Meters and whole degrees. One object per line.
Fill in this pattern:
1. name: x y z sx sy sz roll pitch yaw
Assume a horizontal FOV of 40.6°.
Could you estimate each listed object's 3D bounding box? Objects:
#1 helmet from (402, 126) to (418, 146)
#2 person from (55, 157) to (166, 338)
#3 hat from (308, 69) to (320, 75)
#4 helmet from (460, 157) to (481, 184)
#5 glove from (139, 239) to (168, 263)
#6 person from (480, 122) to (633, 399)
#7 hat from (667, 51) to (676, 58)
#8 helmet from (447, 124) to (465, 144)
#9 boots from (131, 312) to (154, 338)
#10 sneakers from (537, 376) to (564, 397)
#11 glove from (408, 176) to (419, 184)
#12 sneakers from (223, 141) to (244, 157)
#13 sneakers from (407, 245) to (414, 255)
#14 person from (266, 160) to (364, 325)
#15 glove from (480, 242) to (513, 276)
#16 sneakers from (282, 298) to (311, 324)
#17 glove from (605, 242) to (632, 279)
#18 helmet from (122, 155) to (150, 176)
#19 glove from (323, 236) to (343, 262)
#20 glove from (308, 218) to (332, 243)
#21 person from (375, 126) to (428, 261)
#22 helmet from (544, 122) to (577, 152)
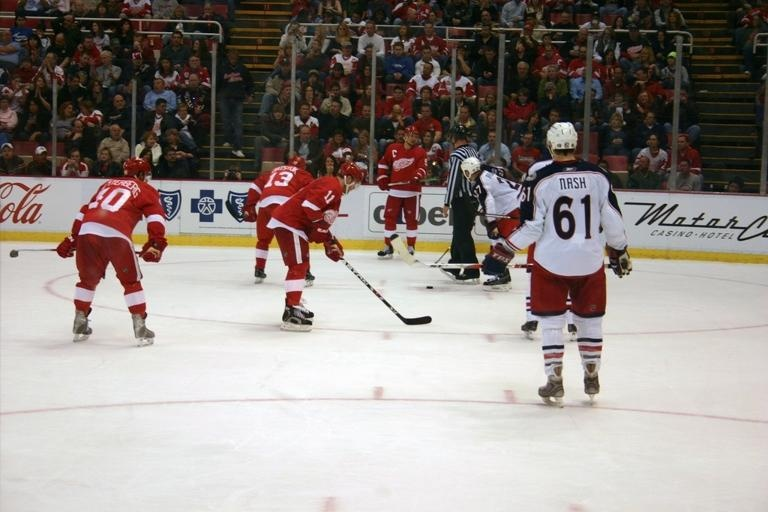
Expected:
1. helmet: 0.420 -1.859 15.939 0.197 0.321 0.328 0 5 -3
2. person: -2.832 -0.071 10.888 1.109 1.929 0.655 0 5 1
3. hat: -1.127 -2.984 16.751 0.169 0.115 0.066 0 5 -4
4. helmet: 1.098 -1.092 13.017 0.251 0.314 0.314 0 5 2
5. glove: -2.426 -0.058 10.864 0.254 0.239 0.362 -1 5 -13
6. person: 1.676 0.050 9.590 1.138 2.560 0.568 1 5 8
7. hat: 4.533 -3.191 16.311 0.039 0.110 0.133 -4 6 -42
8. helmet: 0.981 -1.679 14.149 0.244 0.283 0.304 1 7 9
9. boots: -2.496 0.731 10.734 0.219 0.282 0.195 -1 5 -15
10. sneakers: 1.532 1.207 9.504 0.225 0.218 0.162 1 5 6
11. glove: 0.469 -1.178 15.928 0.113 0.116 0.202 -2 5 -24
12. sneakers: -2.459 -1.752 17.208 0.423 0.167 0.143 22 28 -21
13. sneakers: 0.440 -0.089 16.186 0.095 0.112 0.127 1 -3 17
14. person: -0.836 -0.125 11.538 0.812 1.811 0.788 3 6 31
15. glove: 1.331 0.058 13.058 0.447 0.385 0.383 0 -3 -5
16. sneakers: -0.944 0.646 11.343 0.312 0.220 0.108 0 5 -5
17. glove: 2.257 0.023 9.833 0.224 0.339 0.095 0 45 29
18. helmet: -2.645 -0.969 11.083 0.265 0.227 0.193 -12 29 -34
19. glove: -0.511 -0.103 11.637 0.260 0.255 0.105 -33 6 47
20. glove: -0.709 -0.293 11.438 0.134 0.217 0.175 -29 46 -31
21. person: 0.279 -0.998 16.122 0.779 2.059 0.525 1 5 12
22. helmet: 1.650 -1.111 9.640 0.251 0.263 0.297 3 11 11
